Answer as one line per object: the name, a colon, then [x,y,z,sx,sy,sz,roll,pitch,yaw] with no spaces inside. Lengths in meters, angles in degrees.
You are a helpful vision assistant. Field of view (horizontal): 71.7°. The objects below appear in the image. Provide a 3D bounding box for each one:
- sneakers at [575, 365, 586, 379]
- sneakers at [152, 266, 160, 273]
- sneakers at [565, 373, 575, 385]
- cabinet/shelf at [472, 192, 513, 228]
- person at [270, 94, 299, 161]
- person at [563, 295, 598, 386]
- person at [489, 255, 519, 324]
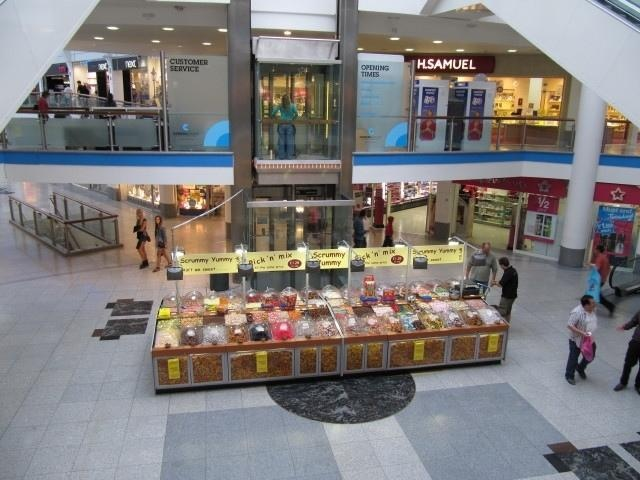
sneakers: [4.770,2.416,8.141,0.107,0.230,0.229,-30,55,7]
sneakers: [-4.684,0.845,12.732,0.208,0.072,0.100,-6,17,-33]
sneakers: [4.514,2.511,8.012,0.099,0.180,0.199,-9,15,-12]
cabinet/shelf: [7.174,-1.290,18.025,0.600,1.482,1.761,-12,19,-39]
person: [-0.852,-2.816,11.146,0.613,1.563,0.251,-5,18,-9]
person: [4.625,1.759,7.852,0.510,1.691,0.385,-13,20,-29]
person: [3.920,1.095,9.346,0.381,1.575,0.581,5,19,21]
